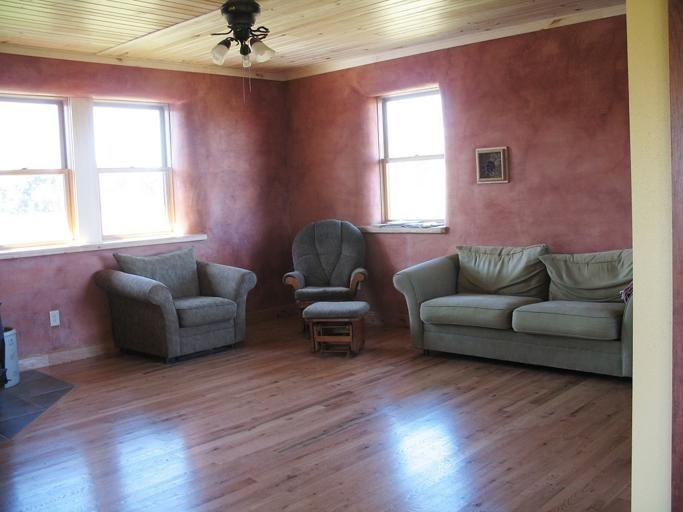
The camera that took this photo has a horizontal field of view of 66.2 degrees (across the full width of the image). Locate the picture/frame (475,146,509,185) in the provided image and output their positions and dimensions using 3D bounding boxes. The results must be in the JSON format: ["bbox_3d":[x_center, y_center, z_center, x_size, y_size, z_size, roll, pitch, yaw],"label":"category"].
[{"bbox_3d":[1.526,-0.915,5.256,0.434,0.425,0.048,1,3,39],"label":"picture/frame"}]

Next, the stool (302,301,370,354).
[{"bbox_3d":[-0.067,0.662,5.034,0.534,0.396,0.561,-1,-1,10],"label":"stool"}]

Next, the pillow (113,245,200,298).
[{"bbox_3d":[-1.926,0.177,5.352,0.185,0.360,0.529,-11,1,44],"label":"pillow"}]

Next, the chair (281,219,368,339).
[{"bbox_3d":[-0.143,0.262,6.180,1.437,1.549,1.145,-1,-2,8],"label":"chair"}]

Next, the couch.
[{"bbox_3d":[1.555,0.464,4.622,1.816,0.969,0.803,2,9,30],"label":"couch"}]
